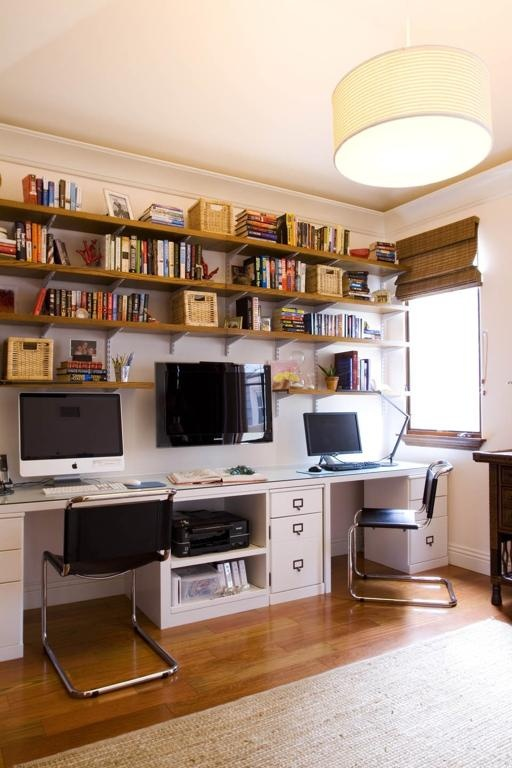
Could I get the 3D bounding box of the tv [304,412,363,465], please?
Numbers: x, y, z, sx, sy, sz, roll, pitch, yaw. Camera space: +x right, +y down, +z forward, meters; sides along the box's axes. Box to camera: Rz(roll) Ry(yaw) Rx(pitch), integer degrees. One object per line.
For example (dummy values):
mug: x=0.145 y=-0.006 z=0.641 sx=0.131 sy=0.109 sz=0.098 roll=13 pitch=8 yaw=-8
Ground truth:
tv: x=0.500 y=0.321 z=3.862 sx=0.474 sy=0.264 sz=0.131 roll=1 pitch=-2 yaw=-44

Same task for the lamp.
lamp: x=0.491 y=-0.797 z=1.988 sx=0.506 sy=0.561 sz=0.559 roll=-3 pitch=-2 yaw=11

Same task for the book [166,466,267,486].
book: x=-0.225 y=0.485 z=3.137 sx=0.501 sy=0.056 sz=0.336 roll=1 pitch=-2 yaw=-27

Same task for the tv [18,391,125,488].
tv: x=-0.924 y=0.274 z=2.917 sx=0.442 sy=0.386 sz=0.074 roll=5 pitch=-24 yaw=-33

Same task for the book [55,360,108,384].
book: x=-0.891 y=-0.057 z=2.994 sx=0.256 sy=0.109 sz=0.204 roll=0 pitch=-1 yaw=-5

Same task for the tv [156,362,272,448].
tv: x=-0.263 y=0.117 z=3.380 sx=0.506 sy=0.346 sz=0.035 roll=-1 pitch=1 yaw=-33

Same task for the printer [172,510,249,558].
printer: x=-0.270 y=0.775 z=3.156 sx=0.477 sy=0.167 sz=0.348 roll=1 pitch=-2 yaw=-33

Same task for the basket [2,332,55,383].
basket: x=-1.077 y=-0.121 z=2.797 sx=0.213 sy=0.206 sz=0.212 roll=1 pitch=2 yaw=-20

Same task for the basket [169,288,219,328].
basket: x=-0.338 y=-0.400 z=3.361 sx=0.231 sy=0.224 sz=0.231 roll=0 pitch=0 yaw=-6

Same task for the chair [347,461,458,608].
chair: x=0.838 y=0.868 z=3.593 sx=0.791 sy=0.977 sz=0.584 roll=1 pitch=-3 yaw=9
